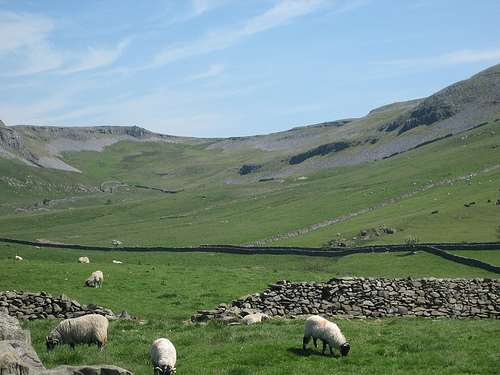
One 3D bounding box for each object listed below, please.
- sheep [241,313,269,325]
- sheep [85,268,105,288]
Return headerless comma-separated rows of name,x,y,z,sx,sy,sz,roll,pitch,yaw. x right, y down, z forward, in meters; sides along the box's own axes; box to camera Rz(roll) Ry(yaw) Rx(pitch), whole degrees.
sheep,0.535,11.163,43.879,2.535,0.809,0.691,-1,1,-22
sheep,-16.219,9.600,53.820,1.553,1.627,1.414,-3,-7,-9
